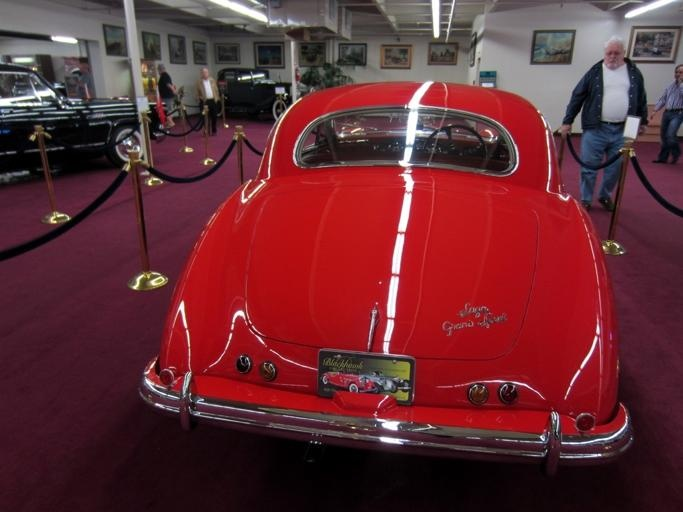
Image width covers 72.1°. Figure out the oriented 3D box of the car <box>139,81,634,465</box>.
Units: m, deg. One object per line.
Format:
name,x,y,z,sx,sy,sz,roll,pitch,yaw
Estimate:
car,0.243,-0.149,2.292,1.951,1.133,1.823,0,24,1
